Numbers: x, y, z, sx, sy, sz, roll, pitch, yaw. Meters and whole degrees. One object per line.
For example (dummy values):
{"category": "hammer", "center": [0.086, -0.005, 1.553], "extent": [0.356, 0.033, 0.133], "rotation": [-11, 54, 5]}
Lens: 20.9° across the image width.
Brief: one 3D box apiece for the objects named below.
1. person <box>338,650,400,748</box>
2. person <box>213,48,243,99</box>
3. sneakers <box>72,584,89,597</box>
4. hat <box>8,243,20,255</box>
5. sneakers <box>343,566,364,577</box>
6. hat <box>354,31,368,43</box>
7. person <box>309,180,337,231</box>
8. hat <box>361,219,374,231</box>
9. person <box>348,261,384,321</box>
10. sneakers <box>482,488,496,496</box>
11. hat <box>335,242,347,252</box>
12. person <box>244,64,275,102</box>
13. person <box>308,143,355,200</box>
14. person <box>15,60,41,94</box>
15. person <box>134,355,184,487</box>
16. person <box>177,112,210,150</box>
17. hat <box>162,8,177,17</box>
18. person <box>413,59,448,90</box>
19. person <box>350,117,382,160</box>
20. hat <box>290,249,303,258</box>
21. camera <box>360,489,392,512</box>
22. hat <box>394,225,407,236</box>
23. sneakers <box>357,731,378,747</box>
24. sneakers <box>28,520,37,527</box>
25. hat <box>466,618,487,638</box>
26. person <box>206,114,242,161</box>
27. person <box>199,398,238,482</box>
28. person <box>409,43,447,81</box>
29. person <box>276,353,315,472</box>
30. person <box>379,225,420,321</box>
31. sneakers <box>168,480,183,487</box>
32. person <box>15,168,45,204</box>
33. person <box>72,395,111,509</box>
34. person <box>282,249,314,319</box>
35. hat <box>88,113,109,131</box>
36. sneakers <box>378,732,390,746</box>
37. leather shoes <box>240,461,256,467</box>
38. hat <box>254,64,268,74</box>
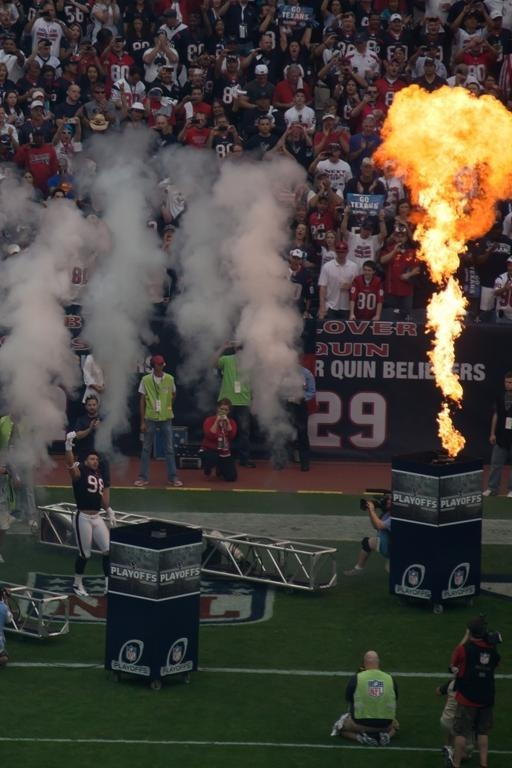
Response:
{"category": "person", "center": [1.031, 2.846, 12.557], "extent": [0.682, 0.780, 0.552], "rotation": [4, -8, -15]}
{"category": "person", "center": [-0.559, -5.832, 26.436], "extent": [0.527, 0.893, 0.439], "rotation": [-1, 8, -2]}
{"category": "sneakers", "center": [-2.094, 2.435, 16.398], "extent": [0.097, 0.099, 0.240], "rotation": [-3, 2, -30]}
{"category": "hat", "center": [-3.914, -2.133, 22.256], "extent": [0.205, 0.230, 0.063], "rotation": [-11, -36, 11]}
{"category": "sneakers", "center": [1.228, 2.347, 17.506], "extent": [0.287, 0.130, 0.100], "rotation": [-1, 25, 6]}
{"category": "hat", "center": [1.999, -6.614, 26.625], "extent": [0.204, 0.217, 0.214], "rotation": [2, 8, 21]}
{"category": "person", "center": [1.117, -3.105, 24.104], "extent": [0.581, 0.888, 0.525], "rotation": [1, 8, 17]}
{"category": "hat", "center": [1.878, -2.689, 23.547], "extent": [0.176, 0.230, 0.133], "rotation": [8, 48, 13]}
{"category": "person", "center": [1.836, -1.542, 23.276], "extent": [0.554, 0.999, 0.524], "rotation": [-1, 8, 2]}
{"category": "sneakers", "center": [3.663, 1.702, 21.819], "extent": [0.208, 0.076, 0.097], "rotation": [1, 0, -1]}
{"category": "hat", "center": [1.429, -2.298, 23.394], "extent": [0.205, 0.188, 0.285], "rotation": [-1, 7, 2]}
{"category": "person", "center": [0.039, -5.680, 26.236], "extent": [0.533, 0.699, 1.216], "rotation": [-1, 7, 0]}
{"category": "person", "center": [1.372, -3.720, 24.836], "extent": [0.760, 0.991, 0.499], "rotation": [-1, 4, -5]}
{"category": "person", "center": [-4.410, -5.883, 26.714], "extent": [0.463, 0.722, 0.654], "rotation": [0, 8, 10]}
{"category": "person", "center": [-1.581, 0.600, 21.792], "extent": [0.725, 2.087, 0.479], "rotation": [-2, 8, -5]}
{"category": "person", "center": [-1.133, -4.533, 24.926], "extent": [0.550, 0.661, 0.702], "rotation": [-1, 8, -3]}
{"category": "hat", "center": [-1.707, -7.202, 27.084], "extent": [0.227, 0.114, 0.172], "rotation": [27, 39, 31]}
{"category": "person", "center": [3.264, -5.764, 26.042], "extent": [0.580, 0.649, 1.317], "rotation": [0, 7, 7]}
{"category": "person", "center": [1.976, -4.387, 24.850], "extent": [0.459, 0.789, 0.745], "rotation": [-3, 8, -14]}
{"category": "hat", "center": [0.667, -2.189, 23.385], "extent": [0.215, 0.169, 0.283], "rotation": [0, 7, 5]}
{"category": "camera", "center": [1.530, 1.453, 17.065], "extent": [0.482, 0.224, 0.641], "rotation": [2, 1, 15]}
{"category": "hat", "center": [2.457, -2.590, 23.454], "extent": [0.238, 0.201, 0.127], "rotation": [-3, 8, -12]}
{"category": "sneakers", "center": [1.006, 3.181, 12.469], "extent": [0.154, 0.111, 0.055], "rotation": [18, -24, 22]}
{"category": "sneakers", "center": [-3.130, 1.943, 19.310], "extent": [0.098, 0.107, 0.093], "rotation": [0, -4, 23]}
{"category": "hat", "center": [1.907, 2.097, 11.983], "extent": [0.139, 0.147, 0.170], "rotation": [4, 11, 5]}
{"category": "person", "center": [-0.584, -4.366, 24.638], "extent": [0.552, 0.722, 0.395], "rotation": [-2, 8, -9]}
{"category": "person", "center": [-0.625, 0.927, 22.408], "extent": [0.557, 1.297, 0.581], "rotation": [-1, 8, -3]}
{"category": "person", "center": [3.316, -6.241, 26.920], "extent": [0.752, 1.098, 0.775], "rotation": [0, 7, 5]}
{"category": "person", "center": [0.718, 0.565, 22.997], "extent": [0.493, 1.778, 0.619], "rotation": [-1, 8, 1]}
{"category": "person", "center": [2.435, -1.973, 23.613], "extent": [0.661, 1.440, 0.621], "rotation": [0, 8, 7]}
{"category": "sneakers", "center": [-1.316, 1.575, 22.038], "extent": [0.097, 0.089, 0.235], "rotation": [1, -5, -35]}
{"category": "person", "center": [-3.959, -3.427, 24.164], "extent": [0.391, 0.561, 1.073], "rotation": [-4, 8, -18]}
{"category": "person", "center": [-2.246, 1.102, 19.514], "extent": [0.646, 1.899, 0.559], "rotation": [-3, 17, -8]}
{"category": "person", "center": [0.731, -1.724, 23.560], "extent": [0.392, 1.139, 0.499], "rotation": [-1, 8, 1]}
{"category": "hat", "center": [-2.887, -4.680, 25.006], "extent": [0.320, 0.336, 0.249], "rotation": [-1, 8, -3]}
{"category": "sneakers", "center": [1.155, 3.174, 12.460], "extent": [0.086, 0.108, 0.041], "rotation": [0, 14, 6]}
{"category": "leather shoes", "center": [-0.152, 1.352, 23.433], "extent": [0.239, 0.156, 0.105], "rotation": [-3, 15, -7]}
{"category": "hat", "center": [0.079, -5.926, 26.086], "extent": [0.194, 0.250, 0.263], "rotation": [1, -8, 0]}
